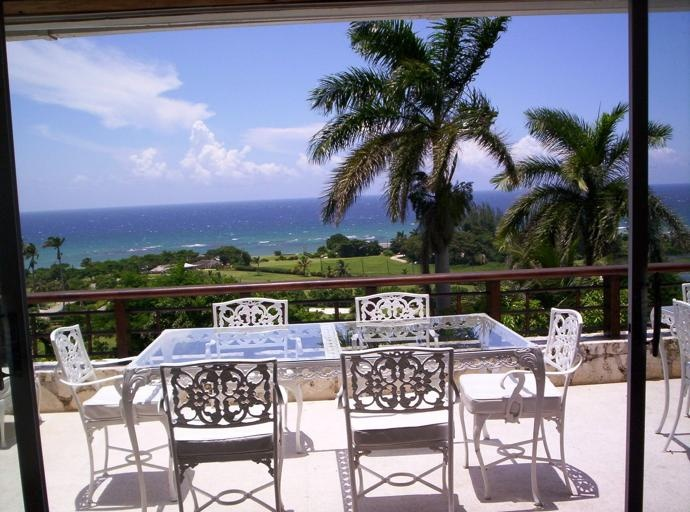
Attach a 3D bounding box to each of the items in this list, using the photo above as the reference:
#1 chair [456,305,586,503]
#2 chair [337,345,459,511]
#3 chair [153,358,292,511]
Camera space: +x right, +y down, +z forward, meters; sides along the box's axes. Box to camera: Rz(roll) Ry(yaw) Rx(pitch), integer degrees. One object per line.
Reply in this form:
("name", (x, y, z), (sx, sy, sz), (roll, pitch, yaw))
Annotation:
("chair", (1.233, 0.913, 3.908), (0.996, 1.445, 0.930), (0, -1, 2))
("chair", (0.292, 0.958, 3.226), (0.628, 0.946, 0.830), (-3, -4, 3))
("chair", (-0.654, 0.996, 3.177), (0.611, 0.902, 0.772), (-2, -4, -6))
